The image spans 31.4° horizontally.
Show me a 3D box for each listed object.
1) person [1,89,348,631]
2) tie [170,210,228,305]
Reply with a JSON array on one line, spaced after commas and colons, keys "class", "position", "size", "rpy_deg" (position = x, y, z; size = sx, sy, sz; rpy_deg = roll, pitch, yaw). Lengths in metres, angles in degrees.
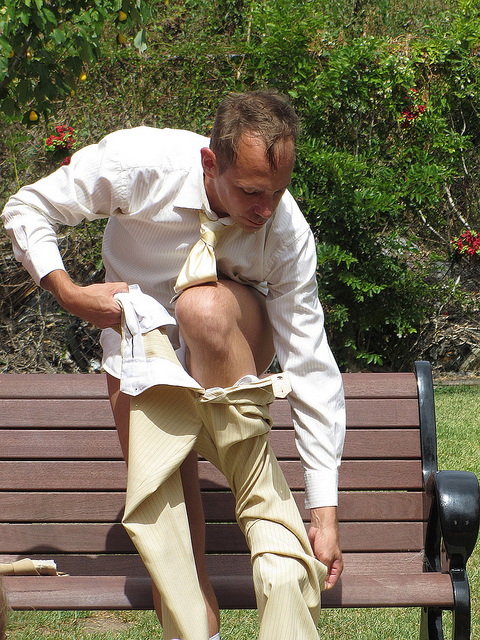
[{"class": "person", "position": [-0.101, 0.014, 2.074], "size": [0.912, 1.105, 0.613], "rpy_deg": [7, 15, 35]}, {"class": "tie", "position": [-0.087, -0.144, 2.061], "size": [0.127, 0.064, 0.202], "rpy_deg": [28, 56, 6]}]
